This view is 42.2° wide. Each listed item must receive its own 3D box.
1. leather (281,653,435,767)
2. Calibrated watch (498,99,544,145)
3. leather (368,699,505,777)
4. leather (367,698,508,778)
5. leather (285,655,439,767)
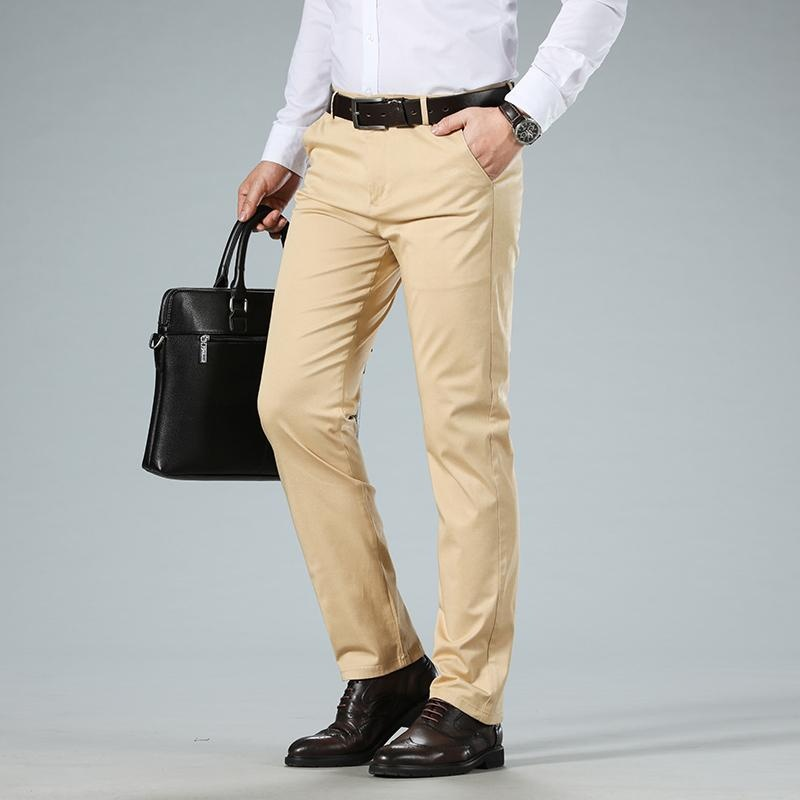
[{"bbox_3d":[-0.049,0.467,1.597,0.286,0.103,0.097,-9,-1,-44],"label":"leather"},{"bbox_3d":[0.169,-0.390,1.463,0.053,0.035,0.053,42,-4,4],"label":"Calibrated watch"},{"bbox_3d":[0.065,0.477,1.481,0.105,0.093,0.235,-6,-14,42],"label":"leather"},{"bbox_3d":[0.061,0.478,1.481,0.105,0.094,0.235,-8,-15,41],"label":"leather"},{"bbox_3d":[-0.066,0.466,1.569,0.300,0.103,0.093,-12,-4,-36],"label":"leather"}]
